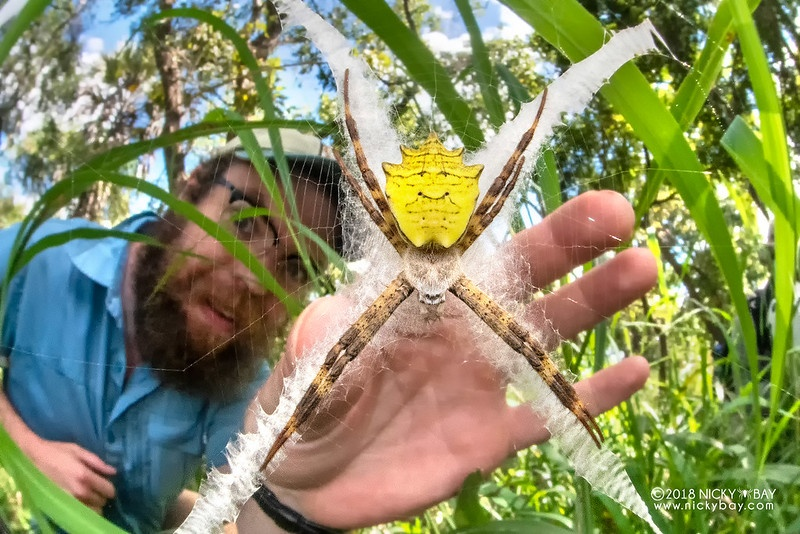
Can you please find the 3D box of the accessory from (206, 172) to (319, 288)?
[{"bbox_3d":[-0.490,-0.126,2.360,0.405,0.345,0.192,-90,17,-44],"label":"accessory"}]

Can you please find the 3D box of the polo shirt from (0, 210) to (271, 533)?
[{"bbox_3d":[-0.913,0.321,2.339,0.796,0.657,0.387,-60,22,3],"label":"polo shirt"}]

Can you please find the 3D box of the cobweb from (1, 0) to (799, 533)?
[{"bbox_3d":[0.047,-0.011,2.288,1.297,1.522,0.353,-36,7,15],"label":"cobweb"}]

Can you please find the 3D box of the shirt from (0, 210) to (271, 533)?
[{"bbox_3d":[-0.913,0.321,2.339,0.796,0.657,0.387,-60,22,3],"label":"shirt"}]
